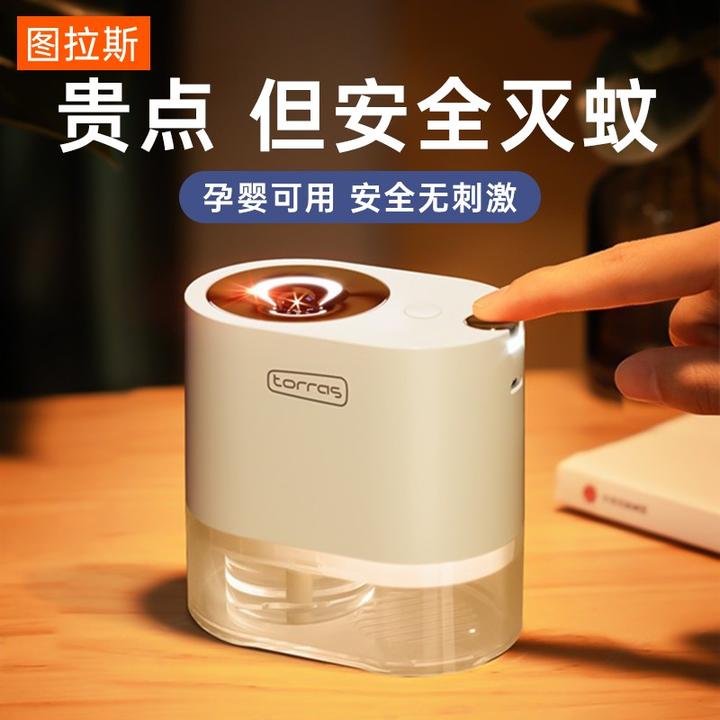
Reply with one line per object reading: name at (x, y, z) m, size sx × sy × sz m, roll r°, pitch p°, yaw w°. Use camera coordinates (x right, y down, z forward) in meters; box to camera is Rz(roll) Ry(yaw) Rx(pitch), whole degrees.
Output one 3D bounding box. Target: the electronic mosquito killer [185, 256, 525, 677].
electronic mosquito killer at (-0.001, 0.067, 0.534) m, size 0.231 × 0.240 × 0.149 m, roll 5°, pitch 19°, yaw 13°
